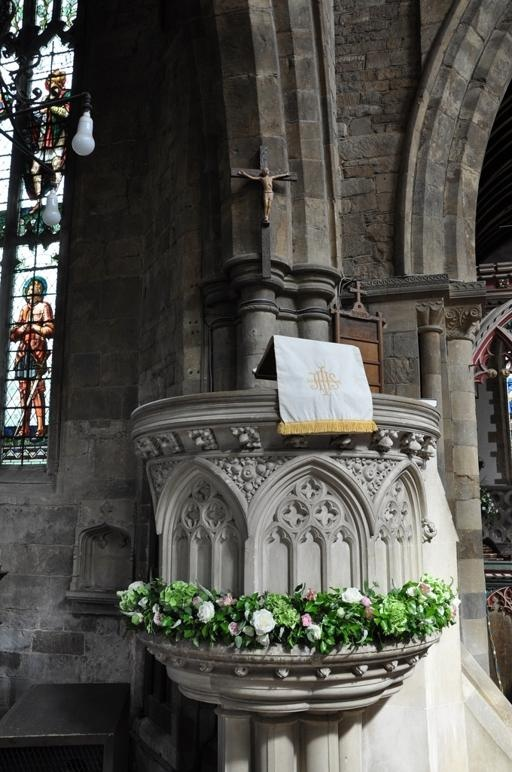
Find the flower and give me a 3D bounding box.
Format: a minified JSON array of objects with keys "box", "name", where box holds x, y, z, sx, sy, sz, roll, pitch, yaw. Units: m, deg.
[{"box":[0.156,0.815,3.418,1.094,0.286,0.460,-4,-19,3],"name":"flower"}]
